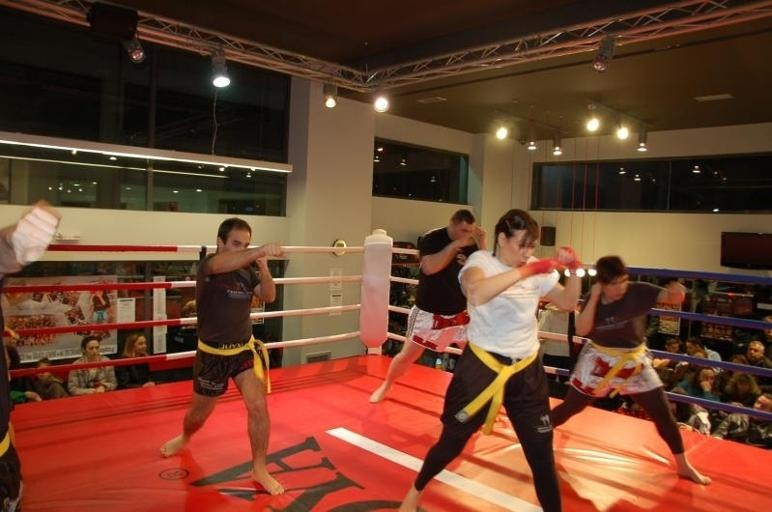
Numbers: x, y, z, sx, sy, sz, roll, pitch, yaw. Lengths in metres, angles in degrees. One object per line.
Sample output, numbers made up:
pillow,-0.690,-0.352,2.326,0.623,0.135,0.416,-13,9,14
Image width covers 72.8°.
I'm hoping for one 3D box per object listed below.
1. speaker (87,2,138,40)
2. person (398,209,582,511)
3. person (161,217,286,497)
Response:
speaker,-2.872,-2.476,5.597,0.537,0.372,0.305,0,13,-36
person,0.745,0.727,3.495,1.057,2.066,0.507,2,7,10
person,-1.118,0.684,3.925,0.994,1.911,0.470,3,7,20
